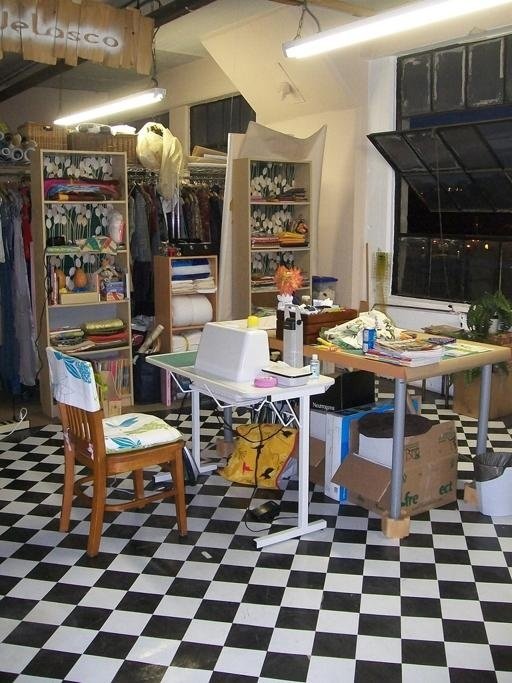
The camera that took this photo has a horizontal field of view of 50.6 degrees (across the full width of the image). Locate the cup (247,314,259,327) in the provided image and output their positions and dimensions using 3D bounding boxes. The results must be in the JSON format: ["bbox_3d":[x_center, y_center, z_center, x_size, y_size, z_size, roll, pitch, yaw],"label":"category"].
[{"bbox_3d":[-0.019,-0.123,3.155,0.072,0.076,0.071,2,9,0],"label":"cup"}]

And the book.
[{"bbox_3d":[0.923,0.056,2.923,0.437,0.058,0.316,-7,11,-38],"label":"book"}]

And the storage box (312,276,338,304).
[{"bbox_3d":[0.781,-0.621,6.216,0.232,0.249,0.506,3,6,29],"label":"storage box"}]

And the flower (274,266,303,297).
[{"bbox_3d":[0.215,-0.412,3.740,0.164,0.207,0.246,0,5,1],"label":"flower"}]

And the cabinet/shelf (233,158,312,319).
[{"bbox_3d":[0.127,-1.136,5.984,1.033,1.759,0.542,-4,6,-41],"label":"cabinet/shelf"}]

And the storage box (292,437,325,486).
[{"bbox_3d":[0.385,0.761,3.456,0.199,0.267,0.259,6,7,42],"label":"storage box"}]

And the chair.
[{"bbox_3d":[-0.699,0.528,2.780,0.615,0.914,0.511,-2,6,-42],"label":"chair"}]

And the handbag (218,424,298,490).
[{"bbox_3d":[0.041,0.736,3.477,0.442,0.412,0.129,3,-16,32],"label":"handbag"}]

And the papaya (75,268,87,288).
[{"bbox_3d":[-1.647,-0.581,5.069,0.113,0.176,0.096,-1,5,-11],"label":"papaya"}]

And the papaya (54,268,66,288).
[{"bbox_3d":[-1.788,-0.567,4.939,0.081,0.187,0.226,-2,5,-21],"label":"papaya"}]

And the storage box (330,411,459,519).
[{"bbox_3d":[0.854,0.709,3.194,0.742,0.476,0.429,-6,9,-25],"label":"storage box"}]

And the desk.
[{"bbox_3d":[0.872,0.292,3.332,1.026,0.901,1.237,-10,16,-35],"label":"desk"}]

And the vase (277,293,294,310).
[{"bbox_3d":[0.207,-0.268,3.649,0.116,0.104,0.105,-2,10,-10],"label":"vase"}]
